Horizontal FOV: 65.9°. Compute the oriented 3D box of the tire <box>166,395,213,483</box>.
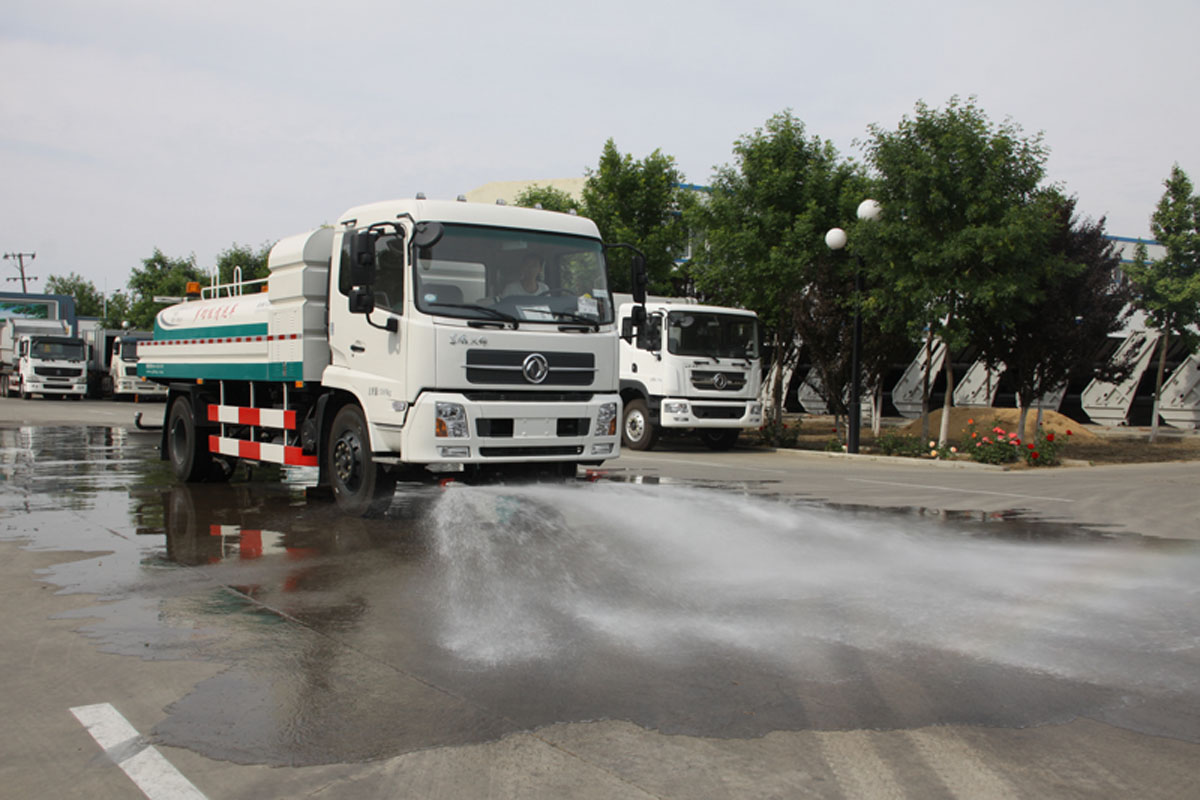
[{"bbox_3d":[-6.510,0.625,14.717,0.421,1.362,1.227,-1,-2,-32],"label":"tire"}]

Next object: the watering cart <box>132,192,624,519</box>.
[{"bbox_3d":[-3.290,-0.393,13.046,3.065,3.430,7.319,0,-2,-40],"label":"watering cart"}]

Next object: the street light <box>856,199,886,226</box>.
[{"bbox_3d":[6.488,-4.519,22.151,0.529,0.542,0.652,1,5,13],"label":"street light"}]

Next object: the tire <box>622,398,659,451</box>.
[{"bbox_3d":[1.013,0.599,22.544,0.389,1.180,1.065,4,-8,-33],"label":"tire"}]
